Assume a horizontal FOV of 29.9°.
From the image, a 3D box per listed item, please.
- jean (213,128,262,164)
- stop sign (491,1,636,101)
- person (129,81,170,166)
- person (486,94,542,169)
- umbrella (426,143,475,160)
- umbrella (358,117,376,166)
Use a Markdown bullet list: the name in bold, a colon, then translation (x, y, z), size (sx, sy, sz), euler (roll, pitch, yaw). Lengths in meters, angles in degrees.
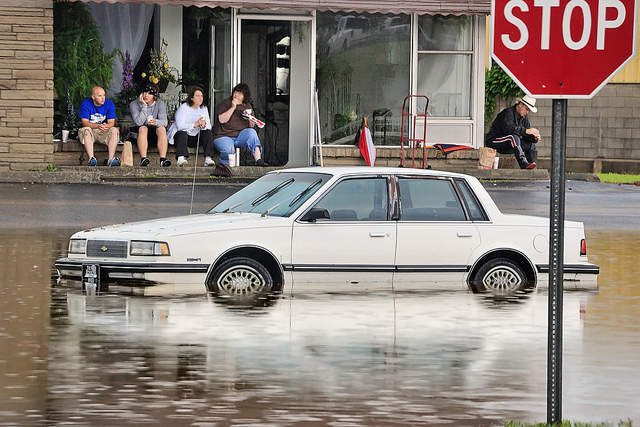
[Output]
- **jean**: translation (-1.667, -1.367, 24.201), size (0.957, 0.720, 0.649), euler (4, 7, -6)
- **stop sign**: translation (2.085, -1.418, 10.306), size (1.242, 0.885, 0.215), euler (5, 6, 6)
- **person**: translation (-3.446, -1.800, 24.384), size (0.850, 1.562, 1.304), euler (3, 7, -9)
- **person**: translation (4.095, -1.679, 25.453), size (0.943, 1.648, 1.199), euler (3, -4, -14)
- **umbrella**: translation (2.844, -1.333, 26.217), size (0.958, 0.302, 0.501), euler (5, 7, 2)
- **umbrella**: translation (1.042, -1.529, 25.739), size (0.391, 0.975, 0.551), euler (4, 6, 2)
